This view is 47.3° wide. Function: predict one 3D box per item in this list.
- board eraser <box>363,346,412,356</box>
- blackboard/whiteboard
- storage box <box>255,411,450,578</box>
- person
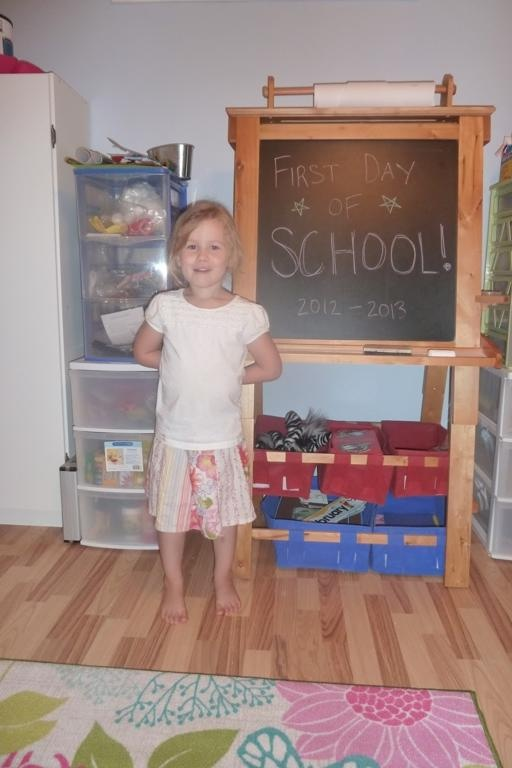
[{"bbox_3d":[0.362,-0.088,1.604,0.120,0.024,0.021,3,49,-1],"label":"board eraser"},{"bbox_3d":[0.305,-0.431,1.625,0.624,0.586,0.264,1,11,4],"label":"blackboard/whiteboard"},{"bbox_3d":[0.288,0.348,1.857,0.519,0.361,0.525,1,5,0],"label":"storage box"},{"bbox_3d":[-0.124,0.065,1.562,0.325,1.060,0.274,-5,10,-33],"label":"person"}]
